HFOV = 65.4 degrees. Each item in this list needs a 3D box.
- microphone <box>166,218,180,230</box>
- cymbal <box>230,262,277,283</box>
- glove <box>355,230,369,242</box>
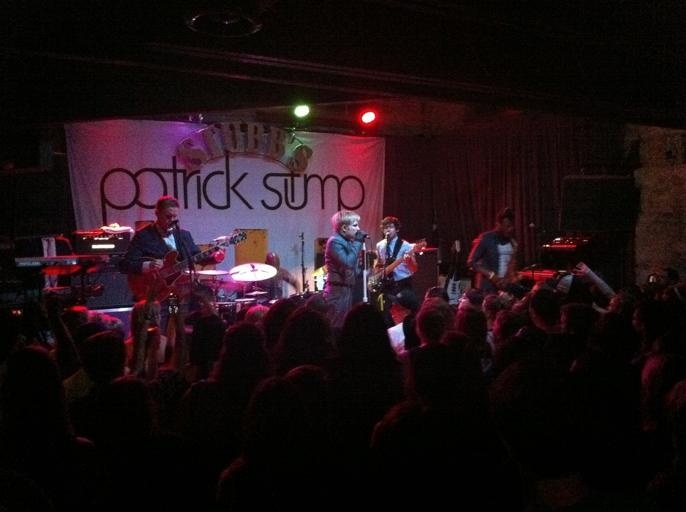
[{"bbox_3d":[-1.750,-0.339,5.564,0.110,0.115,0.087,-6,-14,39],"label":"microphone"},{"bbox_3d":[-1.201,0.220,7.058,0.344,0.104,0.349,3,25,-3],"label":"cymbal"},{"bbox_3d":[0.175,-0.192,5.175,0.111,0.112,0.251,-2,5,1],"label":"glove"}]
